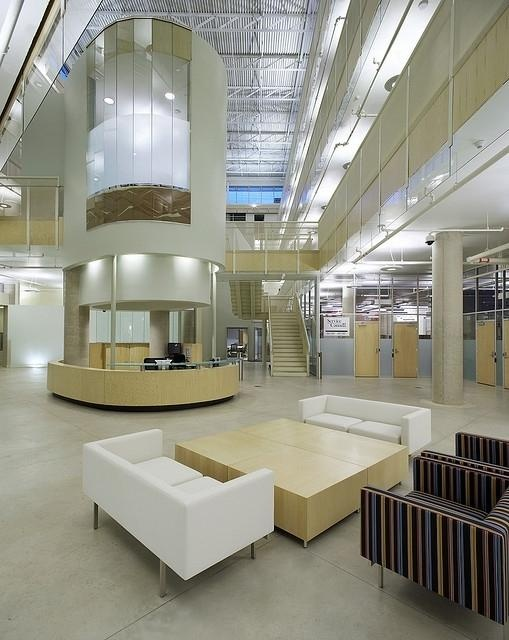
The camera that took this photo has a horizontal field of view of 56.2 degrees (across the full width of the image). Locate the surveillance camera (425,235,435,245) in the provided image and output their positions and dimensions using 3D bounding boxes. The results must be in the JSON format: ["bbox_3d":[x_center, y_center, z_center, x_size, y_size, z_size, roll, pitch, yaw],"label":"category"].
[{"bbox_3d":[3.609,-1.679,9.794,0.174,0.218,0.257,-5,-31,21],"label":"surveillance camera"}]

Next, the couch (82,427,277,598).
[{"bbox_3d":[-0.619,1.284,3.485,0.814,0.636,1.594,1,-1,-41],"label":"couch"}]

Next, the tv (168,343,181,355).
[{"bbox_3d":[-2.329,0.818,13.666,0.233,0.306,0.147,1,5,-7],"label":"tv"}]
